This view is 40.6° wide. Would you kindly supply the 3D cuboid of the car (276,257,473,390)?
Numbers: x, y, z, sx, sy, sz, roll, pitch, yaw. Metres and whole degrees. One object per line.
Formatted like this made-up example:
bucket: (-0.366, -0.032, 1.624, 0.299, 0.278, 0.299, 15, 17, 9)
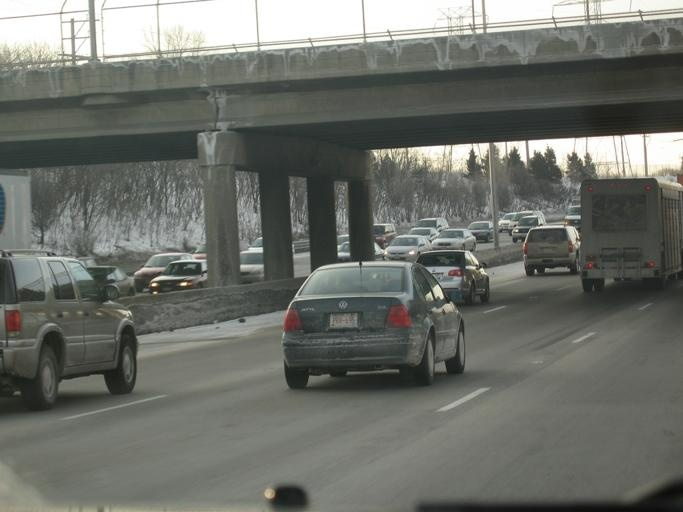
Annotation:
car: (0.722, 0.982, 15.194, 1.455, 1.349, 2.951, -2, 4, 18)
